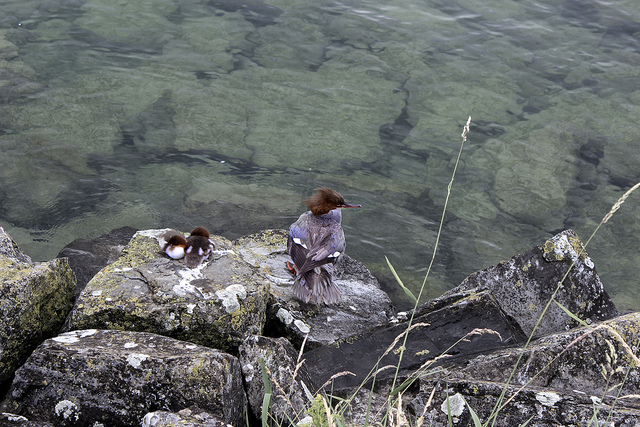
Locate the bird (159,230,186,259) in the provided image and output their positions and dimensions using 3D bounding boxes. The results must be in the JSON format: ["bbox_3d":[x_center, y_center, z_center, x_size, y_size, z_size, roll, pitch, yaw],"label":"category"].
[{"bbox_3d":[-2.806,0.544,13.223,0.510,0.371,0.542,-14,49,-14],"label":"bird"}]

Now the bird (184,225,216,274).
[{"bbox_3d":[-2.360,0.632,13.287,0.680,0.405,0.959,11,44,-5],"label":"bird"}]
